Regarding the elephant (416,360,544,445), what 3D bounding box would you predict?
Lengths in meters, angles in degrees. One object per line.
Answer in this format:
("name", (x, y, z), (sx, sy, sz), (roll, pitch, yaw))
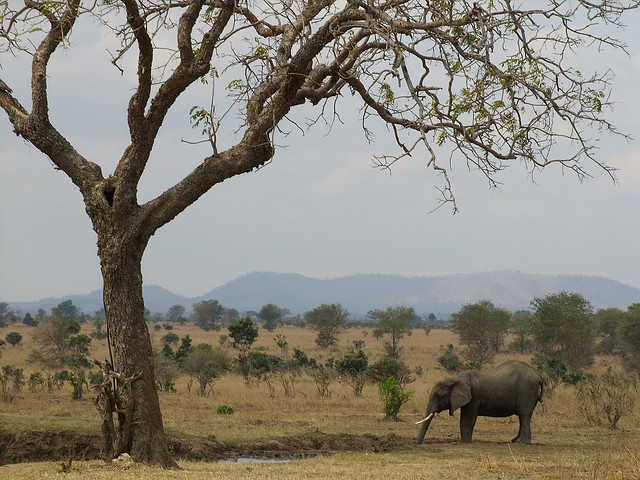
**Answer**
("elephant", (7.011, 6.718, 48.072), (5.885, 4.072, 2.453), (0, -9, 3))
